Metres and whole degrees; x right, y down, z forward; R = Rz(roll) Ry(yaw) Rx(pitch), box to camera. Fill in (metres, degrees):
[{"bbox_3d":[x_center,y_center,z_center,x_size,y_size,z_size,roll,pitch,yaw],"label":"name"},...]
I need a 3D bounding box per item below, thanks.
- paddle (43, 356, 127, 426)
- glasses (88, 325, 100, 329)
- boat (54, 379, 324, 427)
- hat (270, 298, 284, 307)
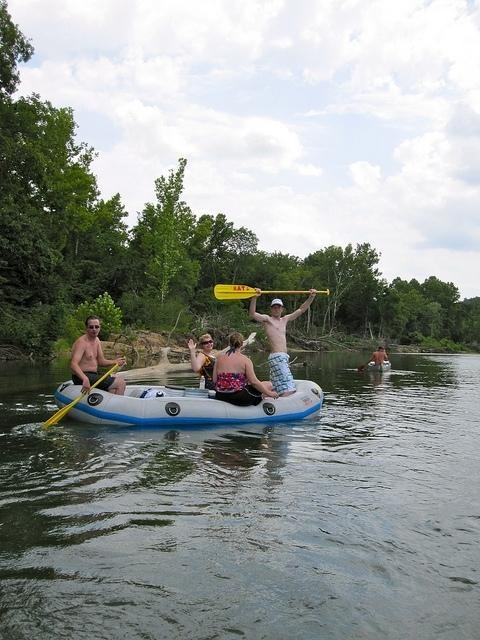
[{"bbox_3d":[-2.448,1.138,8.237,1.563,0.197,0.127,-33,20,-13],"label":"paddle"},{"bbox_3d":[-2.038,0.106,7.365,0.080,0.060,0.219,2,-1,15],"label":"glasses"},{"bbox_3d":[-0.623,1.313,7.679,2.998,0.503,1.379,2,-10,-13],"label":"boat"},{"bbox_3d":[0.607,-0.294,8.455,0.182,0.089,0.241,2,-4,1],"label":"hat"}]
